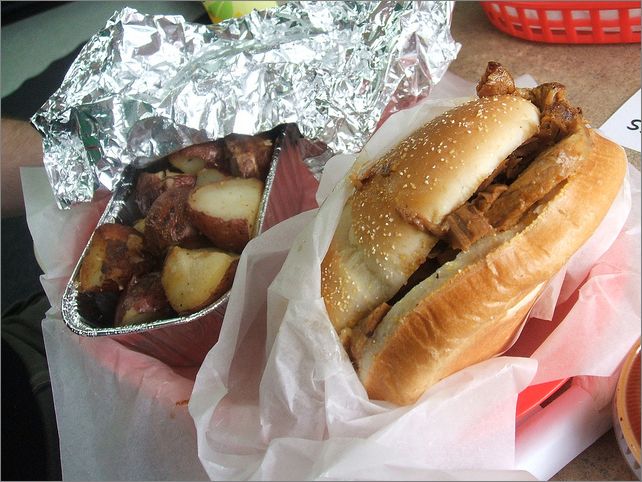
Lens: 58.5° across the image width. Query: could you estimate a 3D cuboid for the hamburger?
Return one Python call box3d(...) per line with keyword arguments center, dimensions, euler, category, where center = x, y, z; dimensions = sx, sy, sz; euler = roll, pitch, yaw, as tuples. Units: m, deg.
box3d(center=(0.343, 0.076, 1.400), dimensions=(0.764, 0.272, 0.569), euler=(-45, 65, 14), category="hamburger")
